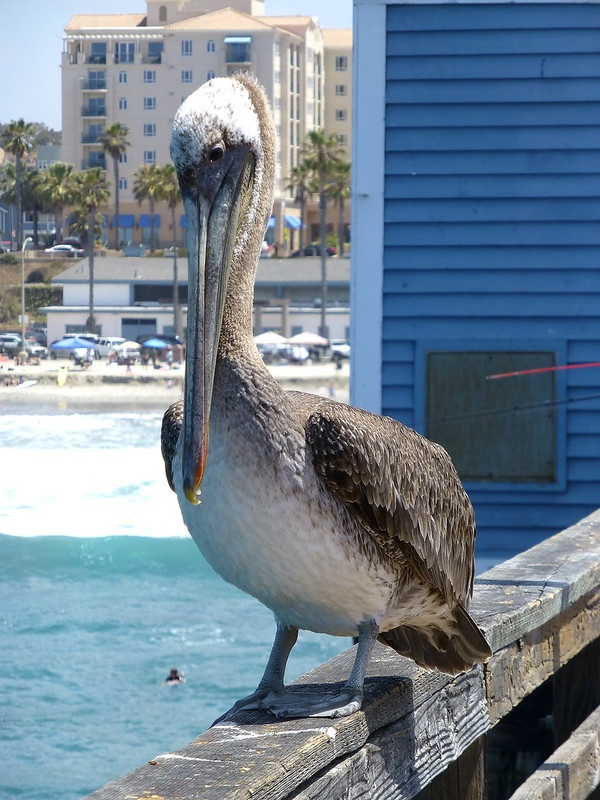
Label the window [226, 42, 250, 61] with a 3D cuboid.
[{"bbox_3d":[-1.813,-10.596,59.813,0.649,0.701,0.705,0,2,6],"label":"window"}]

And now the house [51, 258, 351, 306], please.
[{"bbox_3d":[-2.321,-3.178,52.290,5.520,1.853,4.084,-2,6,-18],"label":"house"}]

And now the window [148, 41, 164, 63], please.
[{"bbox_3d":[-4.235,-10.358,58.251,0.415,0.704,1.170,3,6,-6],"label":"window"}]

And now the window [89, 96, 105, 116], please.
[{"bbox_3d":[-5.862,-8.609,57.074,0.493,0.585,0.026,0,4,-10],"label":"window"}]

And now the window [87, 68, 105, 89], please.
[{"bbox_3d":[-5.837,-9.335,56.616,0.493,0.622,0.074,1,0,-20],"label":"window"}]

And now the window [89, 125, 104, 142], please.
[{"bbox_3d":[-5.852,-7.723,56.594,0.381,0.575,1.119,3,6,-7],"label":"window"}]

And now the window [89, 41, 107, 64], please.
[{"bbox_3d":[-5.761,-10.005,56.271,0.609,0.938,0.065,0,10,3],"label":"window"}]

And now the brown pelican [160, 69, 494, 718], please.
[{"bbox_3d":[0.081,-0.001,8.063,1.322,2.609,0.554,3,5,-5],"label":"brown pelican"}]
